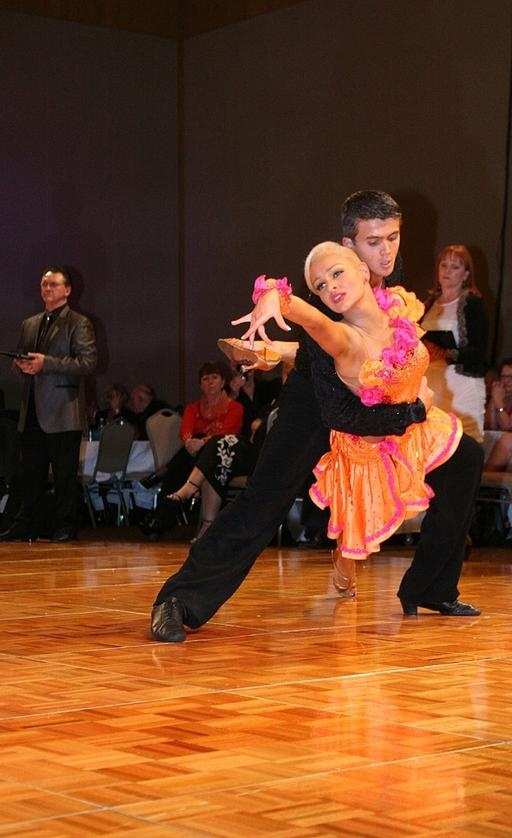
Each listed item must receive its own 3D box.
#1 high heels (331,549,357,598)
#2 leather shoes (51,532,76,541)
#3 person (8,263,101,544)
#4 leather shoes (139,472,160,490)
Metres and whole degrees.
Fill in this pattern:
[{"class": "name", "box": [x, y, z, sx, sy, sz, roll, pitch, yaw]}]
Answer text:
[{"class": "high heels", "box": [0.356, 0.631, 2.828, 0.080, 0.218, 0.087, -3, 16, -6]}, {"class": "leather shoes", "box": [-1.474, 0.909, 5.338, 0.164, 0.065, 0.119, 1, 5, -15]}, {"class": "person", "box": [-1.633, -0.080, 5.503, 0.678, 2.198, 0.910, 1, 6, -15]}, {"class": "leather shoes", "box": [-0.859, 0.515, 5.837, 0.199, 0.107, 0.073, -37, -2, 18]}]
